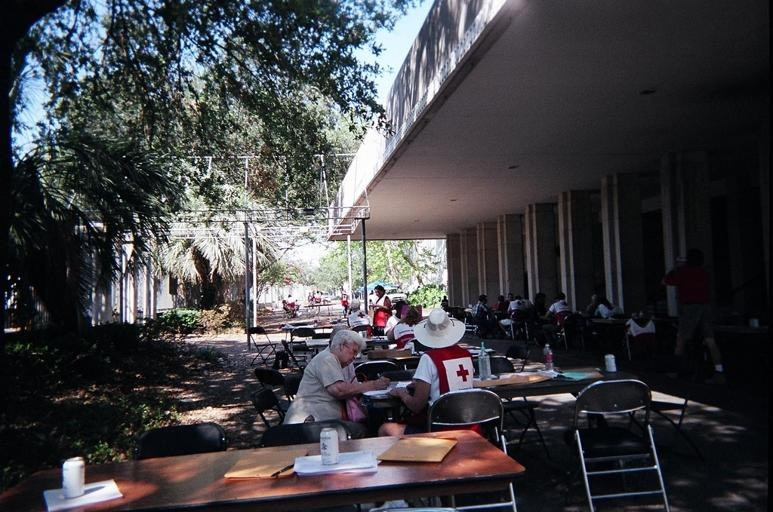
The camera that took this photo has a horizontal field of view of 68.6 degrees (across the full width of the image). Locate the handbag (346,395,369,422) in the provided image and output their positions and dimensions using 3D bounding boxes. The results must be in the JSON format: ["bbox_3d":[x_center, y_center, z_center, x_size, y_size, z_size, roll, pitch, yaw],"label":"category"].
[{"bbox_3d":[-0.327,1.659,6.206,0.159,0.322,0.275,-8,-9,20],"label":"handbag"}]

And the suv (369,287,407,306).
[{"bbox_3d":[0.383,2.752,40.183,1.421,1.291,2.475,1,-9,-31],"label":"suv"}]
